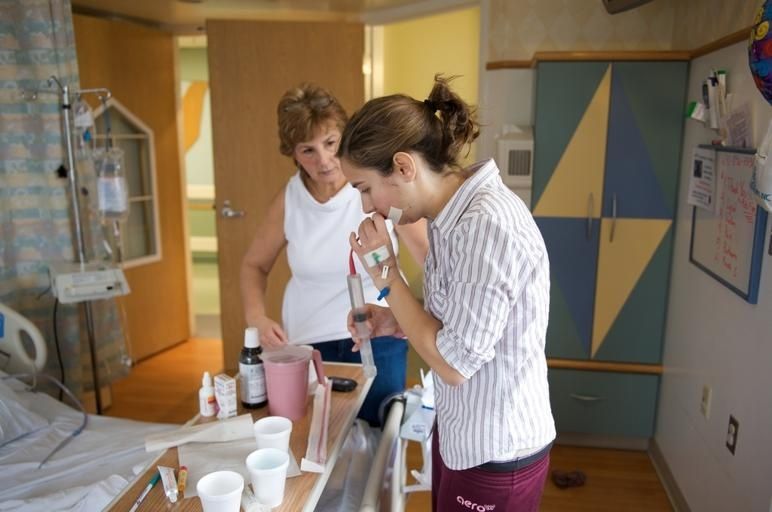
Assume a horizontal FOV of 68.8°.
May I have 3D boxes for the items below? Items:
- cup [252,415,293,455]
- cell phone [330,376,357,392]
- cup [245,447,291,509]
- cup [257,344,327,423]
[{"bbox_3d":[-0.367,0.568,1.825,0.108,0.090,0.116,0,2,0],"label":"cup"},{"bbox_3d":[-0.167,0.485,2.165,0.074,0.020,0.061,3,12,7],"label":"cell phone"},{"bbox_3d":[-0.359,0.669,1.718,0.150,0.161,0.156,2,23,-1],"label":"cup"},{"bbox_3d":[-0.339,0.463,2.085,0.258,0.257,0.201,0,7,-7],"label":"cup"}]
